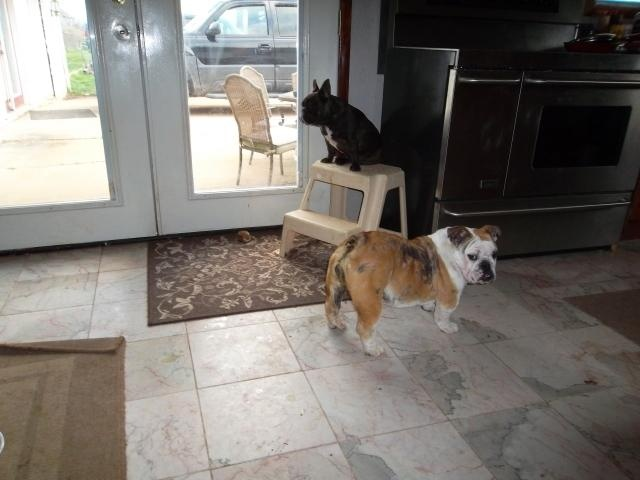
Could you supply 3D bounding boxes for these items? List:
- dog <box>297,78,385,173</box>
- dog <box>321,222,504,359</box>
[{"bbox_3d":[0.143,-0.662,2.397,0.514,0.470,0.341,-10,23,-25],"label":"dog"},{"bbox_3d":[0.394,0.193,1.875,0.792,0.507,0.316,-1,14,-17],"label":"dog"}]
